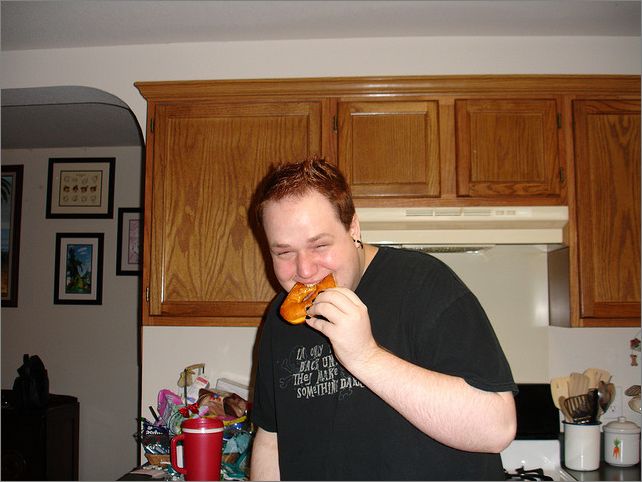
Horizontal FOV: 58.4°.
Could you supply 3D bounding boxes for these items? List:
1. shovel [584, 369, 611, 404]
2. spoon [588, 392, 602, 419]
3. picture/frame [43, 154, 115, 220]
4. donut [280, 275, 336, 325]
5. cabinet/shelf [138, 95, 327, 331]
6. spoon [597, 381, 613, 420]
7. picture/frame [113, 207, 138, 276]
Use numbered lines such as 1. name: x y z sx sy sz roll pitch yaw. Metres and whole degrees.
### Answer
1. shovel: 1.521 0.794 3.157 0.089 0.134 0.135 10 3 23
2. spoon: 1.467 0.875 3.075 0.058 0.164 0.125 -4 -9 24
3. picture/frame: -2.044 -0.445 4.867 0.540 0.532 0.040 -2 -5 1
4. donut: -0.041 0.217 2.085 0.189 0.063 0.190 -8 34 9
5. cabinet/shelf: -0.416 -0.122 2.756 1.109 1.328 0.681 -1 -11 0
6. spoon: 1.559 0.862 3.128 0.123 0.170 0.043 8 -4 -40
7. picture/frame: -1.597 0.007 4.775 0.254 0.556 0.087 -3 -9 13
